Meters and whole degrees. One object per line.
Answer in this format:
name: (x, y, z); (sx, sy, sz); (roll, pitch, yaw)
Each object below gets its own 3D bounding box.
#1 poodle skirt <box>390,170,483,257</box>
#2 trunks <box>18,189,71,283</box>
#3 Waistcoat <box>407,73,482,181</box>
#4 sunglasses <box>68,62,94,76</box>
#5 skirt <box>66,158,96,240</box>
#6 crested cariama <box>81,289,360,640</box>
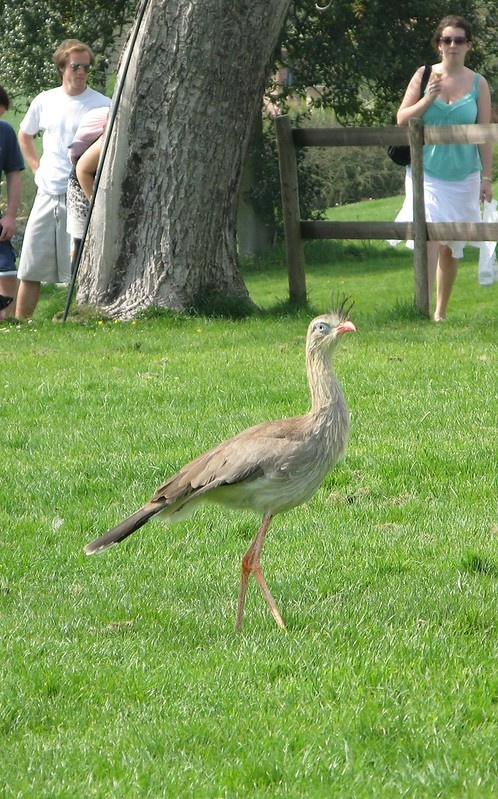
poodle skirt: (1.851, -1.812, 12.524); (0.924, 0.875, 0.437); (10, 17, 43)
trunks: (-2.123, -1.760, 13.815); (0.526, 1.069, 0.332); (3, 25, -11)
Waistcoat: (1.935, -2.662, 12.497); (0.945, 1.544, 0.739); (-1, 8, 1)
sunglasses: (-1.681, -3.343, 12.924); (0.238, 0.101, 0.157); (-10, 15, -30)
skirt: (-1.762, -2.058, 13.321); (0.211, 0.861, 0.217); (-5, 17, -13)
crested cariama: (-0.051, 0.122, 5.560); (0.925, 1.540, 1.583); (-9, 24, -28)
